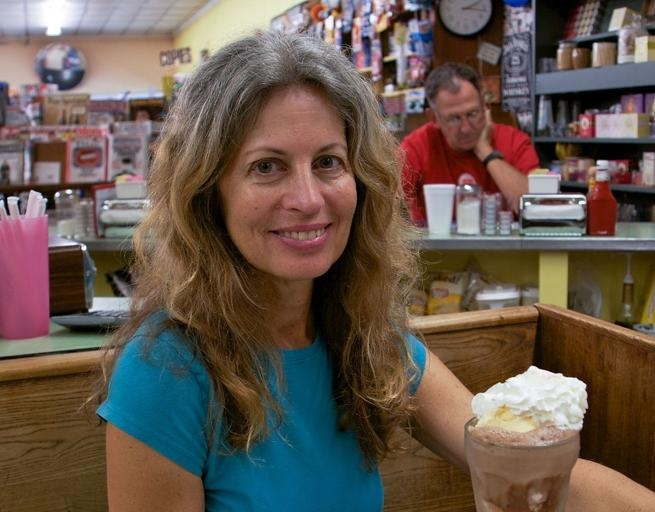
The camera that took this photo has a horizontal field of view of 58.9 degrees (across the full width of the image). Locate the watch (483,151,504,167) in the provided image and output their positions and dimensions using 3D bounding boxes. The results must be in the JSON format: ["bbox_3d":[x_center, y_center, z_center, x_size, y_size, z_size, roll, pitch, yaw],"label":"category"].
[{"bbox_3d":[1.008,-0.592,3.534,0.115,0.077,0.107,-3,-18,-23],"label":"watch"}]

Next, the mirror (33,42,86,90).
[{"bbox_3d":[-2.046,-1.473,4.443,0.362,0.336,0.286,-6,5,-27],"label":"mirror"}]

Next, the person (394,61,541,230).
[{"bbox_3d":[0.894,-0.506,3.759,0.923,1.353,1.004,1,20,27],"label":"person"}]

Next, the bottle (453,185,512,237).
[{"bbox_3d":[0.787,-0.215,2.887,0.256,0.239,0.259,-1,-4,8],"label":"bottle"}]

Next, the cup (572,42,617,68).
[{"bbox_3d":[2.191,-1.630,4.726,0.312,0.170,0.188,-1,6,17],"label":"cup"}]

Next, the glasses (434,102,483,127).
[{"bbox_3d":[0.819,-0.872,3.538,0.151,0.060,0.160,-15,0,0],"label":"glasses"}]
